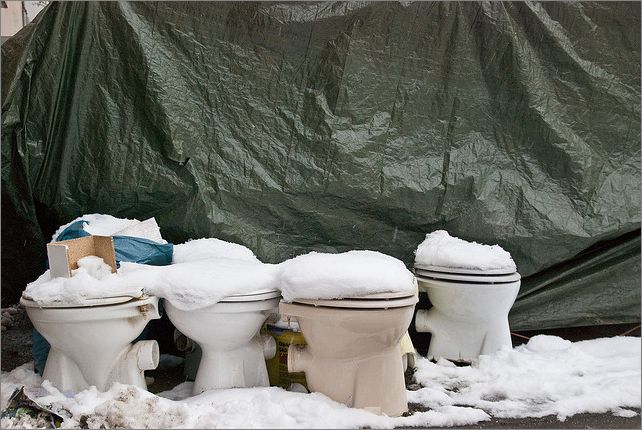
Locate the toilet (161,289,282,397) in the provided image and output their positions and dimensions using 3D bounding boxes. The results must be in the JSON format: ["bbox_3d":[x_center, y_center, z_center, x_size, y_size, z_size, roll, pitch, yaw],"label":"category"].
[{"bbox_3d":[-0.493,0.589,3.217,0.514,0.481,0.472,3,-4,-27],"label":"toilet"}]

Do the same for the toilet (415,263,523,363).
[{"bbox_3d":[0.782,0.575,3.677,0.533,0.480,0.493,3,2,15],"label":"toilet"}]
